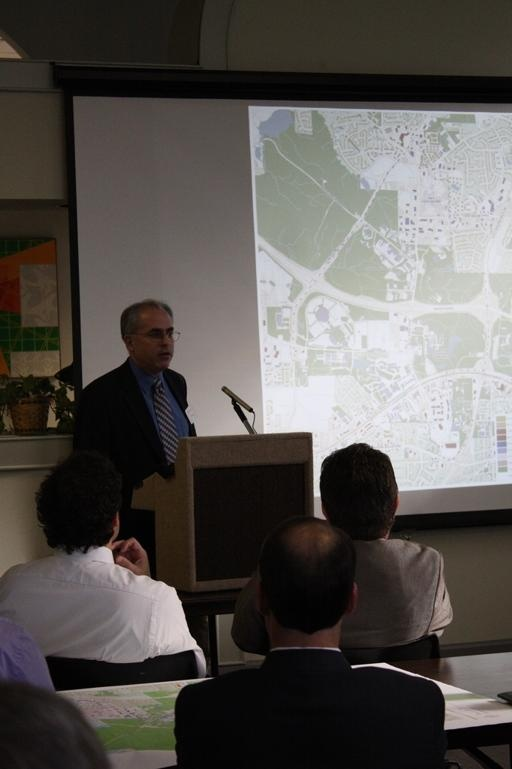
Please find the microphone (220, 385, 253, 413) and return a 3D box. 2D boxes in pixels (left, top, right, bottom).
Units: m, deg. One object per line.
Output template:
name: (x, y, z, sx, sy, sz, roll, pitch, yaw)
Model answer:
microphone: (-0.081, 0.057, 3.169, 0.159, 0.042, 0.043, 37, 16, 31)
